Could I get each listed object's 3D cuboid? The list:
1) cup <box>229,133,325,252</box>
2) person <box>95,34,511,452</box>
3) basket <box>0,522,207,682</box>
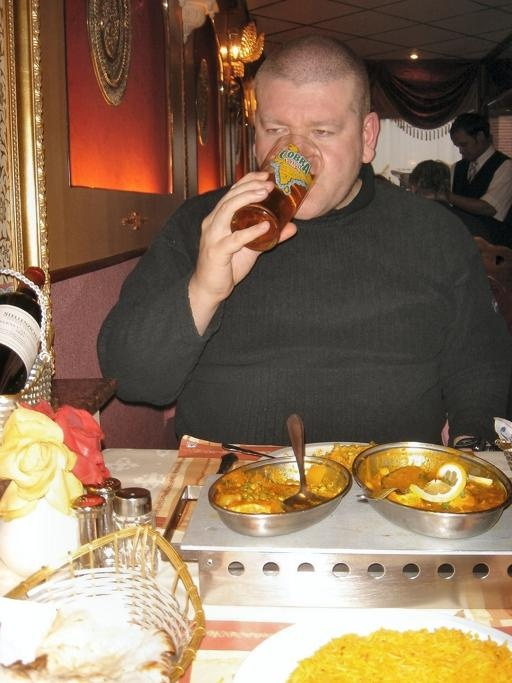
[{"bbox_3d":[0.034,-0.269,1.046,0.162,0.201,0.196,-1,7,5],"label":"cup"},{"bbox_3d":[0.139,-0.217,1.441,0.980,0.967,0.640,-5,7,-26],"label":"person"},{"bbox_3d":[-0.130,0.268,0.609,0.167,0.053,0.162,9,38,10],"label":"basket"}]
